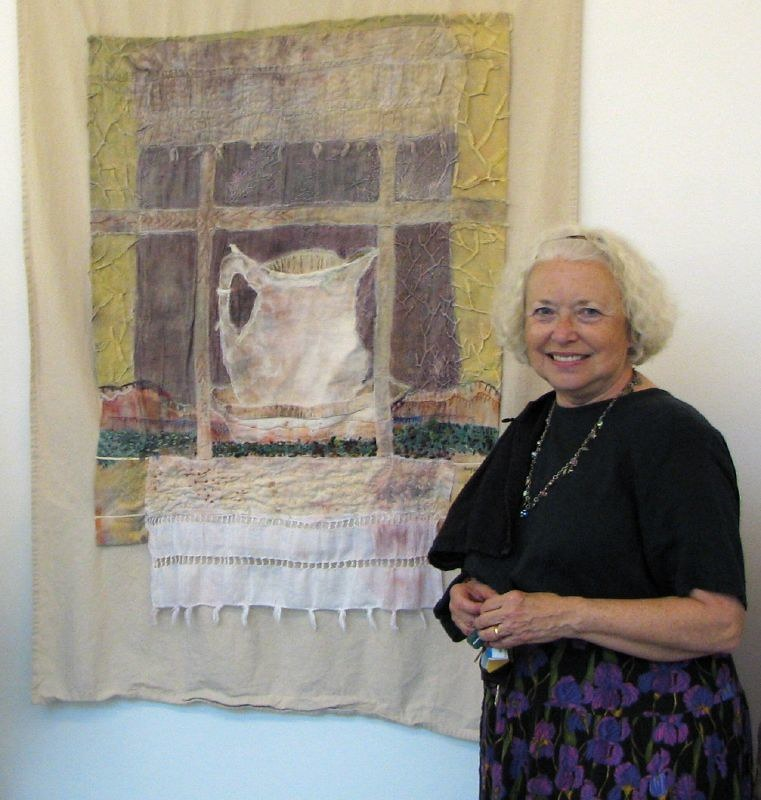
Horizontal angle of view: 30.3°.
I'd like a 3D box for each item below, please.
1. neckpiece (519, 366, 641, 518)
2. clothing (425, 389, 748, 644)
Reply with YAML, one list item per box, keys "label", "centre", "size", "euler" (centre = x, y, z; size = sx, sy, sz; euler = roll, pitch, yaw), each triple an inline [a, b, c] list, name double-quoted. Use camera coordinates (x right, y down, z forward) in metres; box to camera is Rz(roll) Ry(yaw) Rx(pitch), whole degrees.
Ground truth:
- label: "neckpiece"
  centre: [0.395, 0.097, 2.707]
  size: [0.021, 0.291, 0.205]
  euler: [29, -16, -21]
- label: "clothing"
  centre: [0.388, 0.247, 2.757]
  size: [0.714, 0.576, 0.352]
  euler: [-4, -18, 43]
